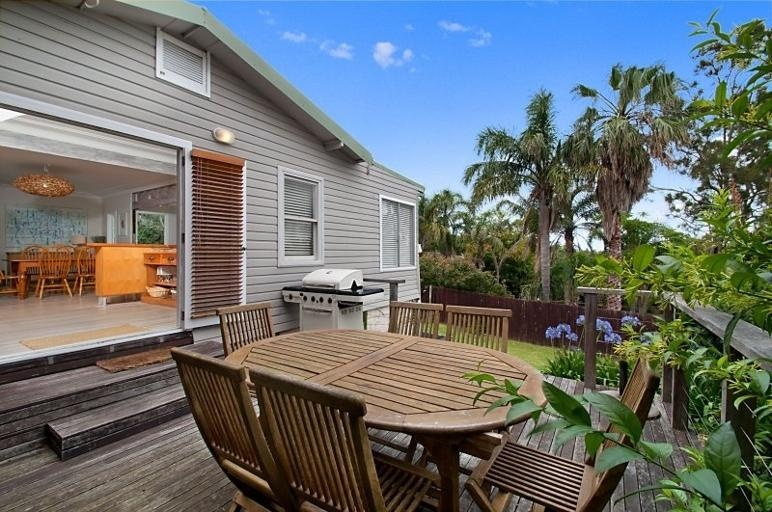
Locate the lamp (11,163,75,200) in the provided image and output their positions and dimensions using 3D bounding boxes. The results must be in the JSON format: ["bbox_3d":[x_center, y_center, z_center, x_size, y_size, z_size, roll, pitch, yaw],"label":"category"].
[{"bbox_3d":[-6.241,-1.294,8.196,0.783,0.479,0.744,-1,-10,-8],"label":"lamp"}]

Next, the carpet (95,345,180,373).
[{"bbox_3d":[-2.795,1.153,4.942,0.727,0.269,0.470,2,-2,-32],"label":"carpet"}]

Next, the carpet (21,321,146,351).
[{"bbox_3d":[-3.483,0.939,5.149,1.162,0.132,0.814,3,-3,-41],"label":"carpet"}]

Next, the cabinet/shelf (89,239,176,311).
[{"bbox_3d":[-4.503,0.382,7.899,0.482,0.963,1.258,-3,-4,34],"label":"cabinet/shelf"}]

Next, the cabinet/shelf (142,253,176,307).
[{"bbox_3d":[-4.122,0.437,8.031,0.977,0.778,0.345,-4,-5,41],"label":"cabinet/shelf"}]

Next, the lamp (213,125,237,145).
[{"bbox_3d":[-2.119,-1.593,5.866,0.090,0.219,0.348,1,-2,38],"label":"lamp"}]
